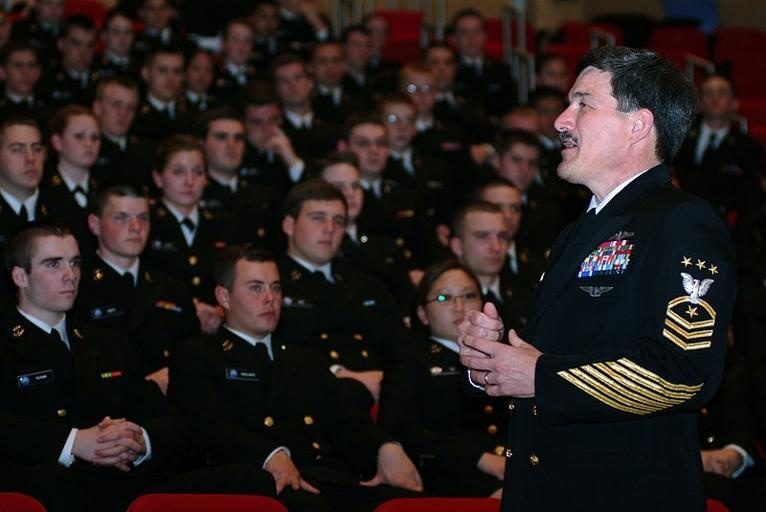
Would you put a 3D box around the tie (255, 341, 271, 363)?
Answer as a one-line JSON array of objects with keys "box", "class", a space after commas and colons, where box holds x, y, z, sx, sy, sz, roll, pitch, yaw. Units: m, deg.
[{"box": [-0.468, 0.380, 3.581, 0.046, 0.089, 0.021, -38, 11, -16], "class": "tie"}]

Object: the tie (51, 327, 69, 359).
[{"box": [-1.203, 0.321, 3.413, 0.073, 0.095, 0.035, -23, 0, -12], "class": "tie"}]

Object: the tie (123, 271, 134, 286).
[{"box": [-0.978, 0.090, 3.529, 0.045, 0.048, 0.019, 0, -9, -21], "class": "tie"}]
